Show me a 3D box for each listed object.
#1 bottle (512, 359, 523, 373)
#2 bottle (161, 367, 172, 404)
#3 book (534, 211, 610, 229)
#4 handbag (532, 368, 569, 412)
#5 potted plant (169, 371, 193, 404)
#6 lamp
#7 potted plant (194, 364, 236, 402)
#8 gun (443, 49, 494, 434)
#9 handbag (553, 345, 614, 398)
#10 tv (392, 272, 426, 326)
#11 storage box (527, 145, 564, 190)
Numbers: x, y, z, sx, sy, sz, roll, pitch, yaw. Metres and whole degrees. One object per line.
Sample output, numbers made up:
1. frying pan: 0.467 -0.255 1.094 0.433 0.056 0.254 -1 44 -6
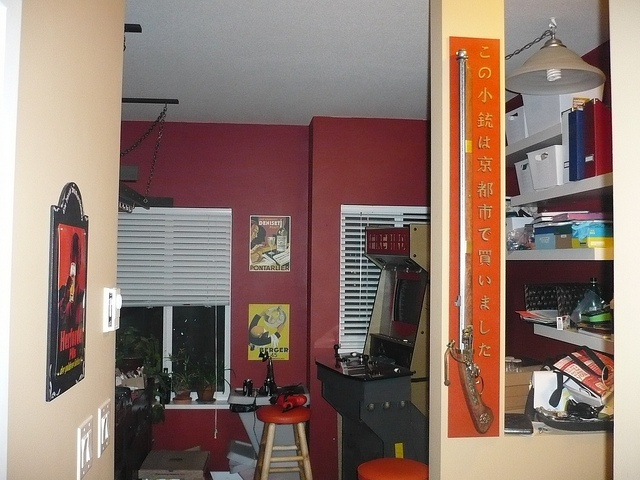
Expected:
1. bottle: 1.169 0.751 3.386 0.055 0.067 0.058 1 -8 -10
2. bottle: -1.260 1.207 4.690 0.094 0.269 0.224 0 -1 -13
3. book: 1.374 -0.116 3.166 0.166 0.076 0.420 0 -1 -14
4. handbag: 1.184 0.805 2.888 0.182 0.254 0.145 -4 -43 34
5. potted plant: -1.141 1.214 4.705 0.177 0.210 0.196 2 -4 -15
6. lamp: 1.130 -0.945 2.761 0.402 0.381 0.457 0 1 -1
7. potted plant: -0.915 1.209 4.843 0.251 0.277 0.262 1 -4 -8
8. gun: 0.631 0.014 2.396 0.223 1.600 0.074 0 -1 -27
9. handbag: 1.338 0.646 2.845 0.231 0.095 0.236 10 -2 -29
10. tv: 0.685 0.371 4.492 0.243 0.071 0.294 0 -41 7
11. storage box: 1.317 -0.416 3.323 0.151 0.220 0.213 -1 2 -3
